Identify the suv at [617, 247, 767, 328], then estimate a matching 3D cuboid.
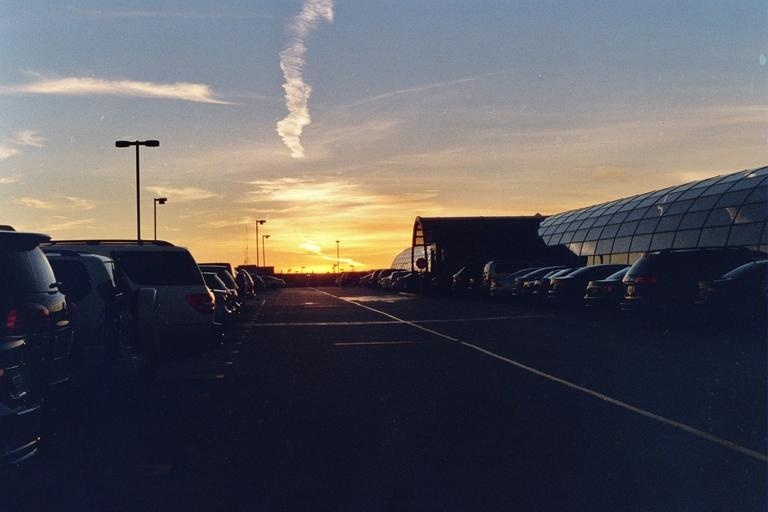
[{"bbox_3d":[8.521,0.578,19.977,3.796,1.334,1.758,-10,4,-24],"label":"suv"}]
